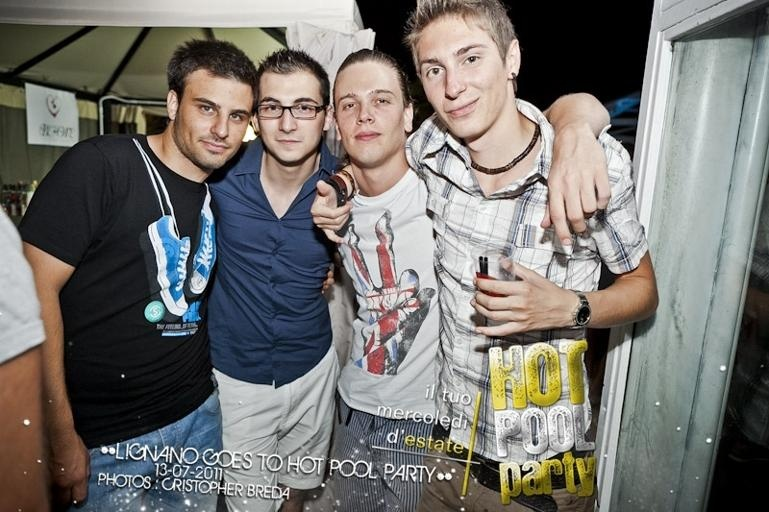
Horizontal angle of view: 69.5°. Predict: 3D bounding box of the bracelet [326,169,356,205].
[{"bbox_3d":[-0.242,-0.413,3.193,0.103,0.152,0.198,38,-4,-10],"label":"bracelet"}]
